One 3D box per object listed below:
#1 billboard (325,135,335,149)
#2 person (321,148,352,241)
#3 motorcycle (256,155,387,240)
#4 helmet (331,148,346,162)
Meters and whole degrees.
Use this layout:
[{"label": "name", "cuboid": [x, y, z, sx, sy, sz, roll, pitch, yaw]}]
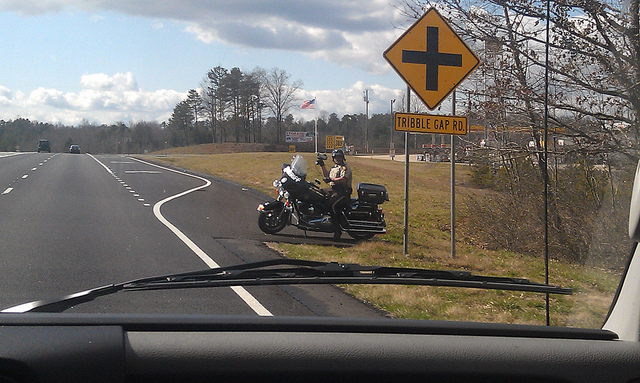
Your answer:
[{"label": "billboard", "cuboid": [1.090, -5.262, 65.129, 0.899, 1.427, 1.805, 0, 8, 3]}, {"label": "person", "cuboid": [0.442, 0.047, 14.211, 0.502, 2.070, 0.576, 2, 8, 12]}, {"label": "motorcycle", "cuboid": [0.142, 0.267, 14.362, 3.135, 1.695, 1.291, 4, 5, 5]}, {"label": "helmet", "cuboid": [0.414, -0.886, 14.224, 0.261, 0.226, 0.390, -1, 8, -4]}]
